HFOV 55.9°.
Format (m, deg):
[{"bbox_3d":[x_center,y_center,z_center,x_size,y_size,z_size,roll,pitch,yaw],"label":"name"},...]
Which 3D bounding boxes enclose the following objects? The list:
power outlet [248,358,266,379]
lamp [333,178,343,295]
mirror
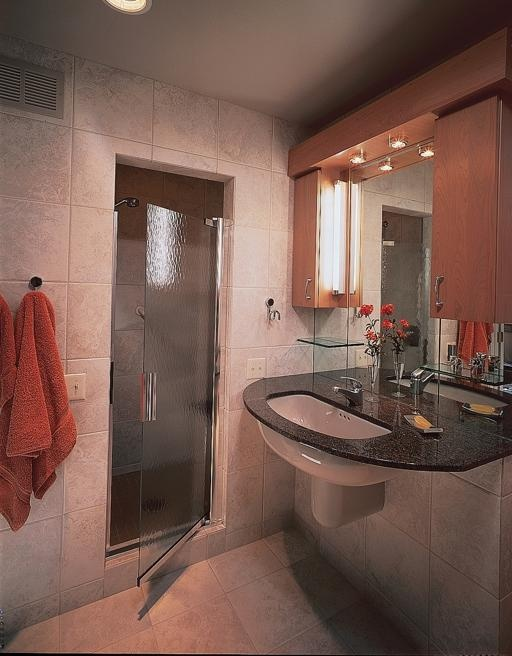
[{"bbox_3d":[0.001,0.201,2.382,0.087,0.091,0.011,-1,5,-36],"label":"power outlet"},{"bbox_3d":[0.399,-0.436,2.353,0.045,0.571,0.050,-1,-6,11],"label":"lamp"},{"bbox_3d":[0.617,-0.355,2.461,0.582,1.393,0.607,-1,5,-12],"label":"mirror"}]
